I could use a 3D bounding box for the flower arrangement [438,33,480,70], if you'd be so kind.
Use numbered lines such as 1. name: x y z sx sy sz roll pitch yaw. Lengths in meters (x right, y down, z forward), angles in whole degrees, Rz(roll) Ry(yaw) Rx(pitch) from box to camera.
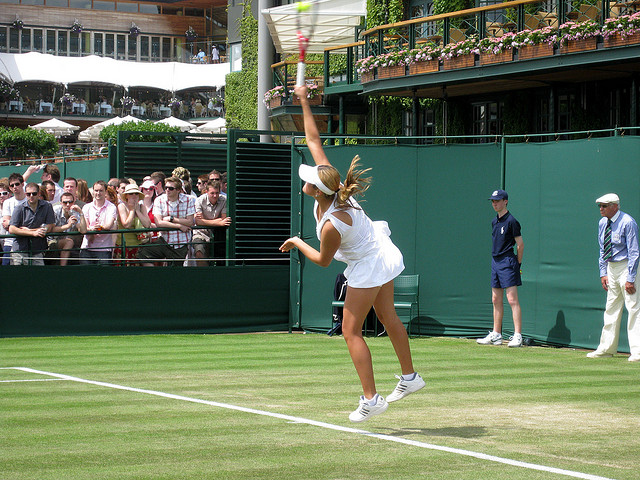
1. flower arrangement: 3.351 -4.306 25.037 0.918 0.637 0.710 2 2 27

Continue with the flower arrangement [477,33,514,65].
1. flower arrangement: 3.966 -4.263 23.960 0.639 0.483 0.777 -10 10 -41

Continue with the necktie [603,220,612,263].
1. necktie: 4.278 0.020 15.752 0.119 0.605 0.095 0 3 9

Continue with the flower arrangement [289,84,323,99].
1. flower arrangement: -0.160 -4.570 32.616 0.452 0.410 0.459 -1 3 -4

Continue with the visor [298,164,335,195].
1. visor: -0.063 -0.658 11.762 0.452 0.325 0.206 2 4 36

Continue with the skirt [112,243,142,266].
1. skirt: -3.432 0.291 18.632 0.521 0.451 0.324 3 1 19

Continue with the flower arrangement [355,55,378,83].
1. flower arrangement: 1.203 -4.423 27.544 0.583 0.665 0.685 -5 6 -40

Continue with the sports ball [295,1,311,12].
1. sports ball: -0.197 -2.640 12.006 0.166 0.093 0.162 -2 7 0

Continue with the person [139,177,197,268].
1. person: -2.669 -0.297 18.653 1.014 1.572 0.600 -1 3 -8

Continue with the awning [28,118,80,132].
1. awning: -14.823 -6.250 58.555 1.256 0.472 1.338 3 3 42

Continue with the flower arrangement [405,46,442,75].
1. flower arrangement: 2.500 -4.399 25.899 0.879 0.584 0.688 -3 13 2

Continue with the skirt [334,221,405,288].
1. skirt: 0.570 0.174 11.886 0.786 0.700 0.473 -3 4 -35

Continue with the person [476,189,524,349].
1. person: 2.969 0.483 17.193 0.621 2.540 0.360 2 4 40

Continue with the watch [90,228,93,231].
1. watch: -3.946 -0.170 18.294 0.054 0.039 0.053 1 -5 1

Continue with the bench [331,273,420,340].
1. bench: 0.999 1.079 18.094 1.325 1.073 0.535 4 -5 19

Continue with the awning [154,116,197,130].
1. awning: -7.670 -6.284 57.064 1.582 0.710 3.657 -1 3 -1

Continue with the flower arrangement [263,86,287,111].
1. flower arrangement: -1.434 -4.435 33.353 0.656 0.533 0.743 -3 2 -36

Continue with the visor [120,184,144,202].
1. visor: -3.304 -0.862 18.735 0.330 0.175 0.337 1 -12 -19

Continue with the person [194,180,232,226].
1. person: -1.871 -0.583 19.136 0.892 0.880 0.689 1 0 6

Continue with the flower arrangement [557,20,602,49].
1. flower arrangement: 5.487 -4.389 22.456 0.654 0.375 0.550 -8 7 -38

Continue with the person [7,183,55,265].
1. person: -4.829 -0.236 17.751 0.743 1.364 0.519 -2 4 -16

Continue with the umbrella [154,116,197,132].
1. umbrella: -7.498 -6.190 57.064 1.614 0.592 1.550 2 8 7
